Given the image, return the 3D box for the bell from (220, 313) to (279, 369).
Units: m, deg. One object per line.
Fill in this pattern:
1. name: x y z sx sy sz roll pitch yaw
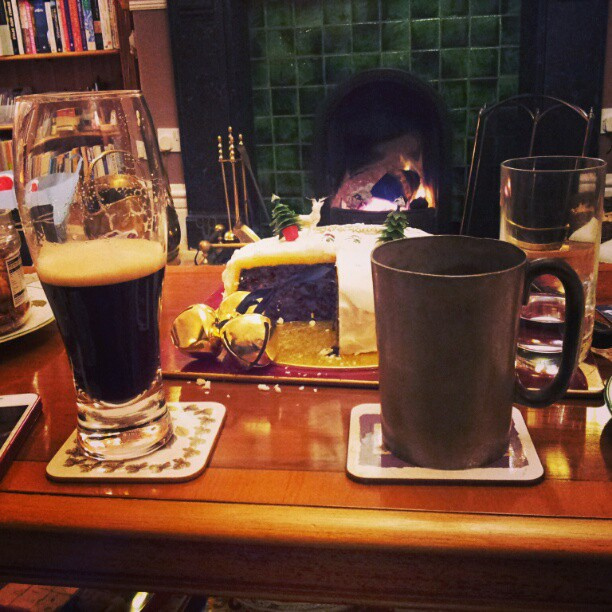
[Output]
1. bell: -0.053 0.033 0.591 0.054 0.050 0.048 -6 23 -12

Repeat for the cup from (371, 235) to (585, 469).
1. cup: 0.113 0.028 0.406 0.132 0.145 0.090 3 21 22

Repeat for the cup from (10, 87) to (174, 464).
1. cup: -0.145 -0.017 0.438 0.104 0.250 0.092 -7 22 -13

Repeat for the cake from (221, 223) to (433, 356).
1. cake: 0.032 -0.052 0.862 0.254 0.091 0.211 7 30 9

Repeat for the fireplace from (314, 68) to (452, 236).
1. fireplace: 0.303 -0.566 2.524 0.509 0.811 0.275 2 22 8

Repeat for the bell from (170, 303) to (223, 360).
1. bell: -0.104 0.024 0.597 0.042 0.052 0.046 6 -6 -37
